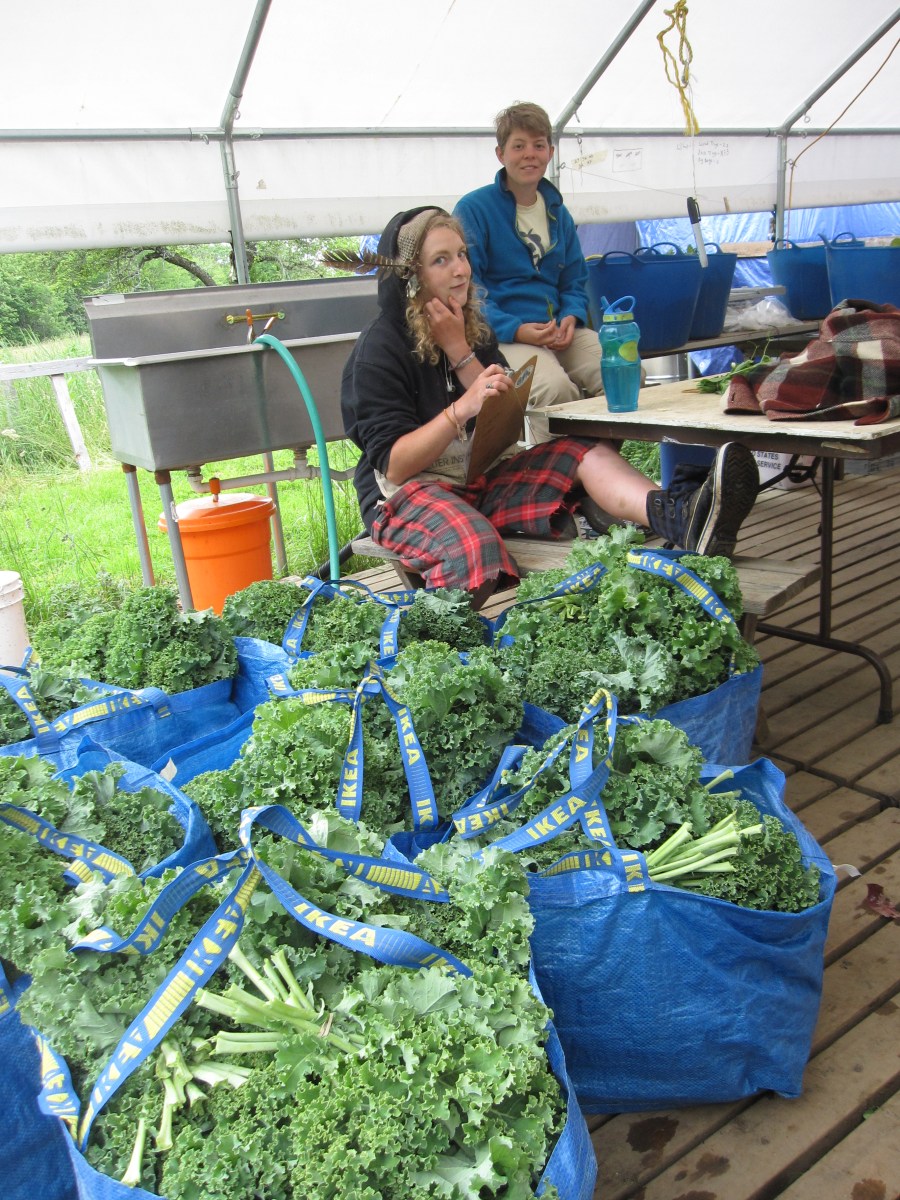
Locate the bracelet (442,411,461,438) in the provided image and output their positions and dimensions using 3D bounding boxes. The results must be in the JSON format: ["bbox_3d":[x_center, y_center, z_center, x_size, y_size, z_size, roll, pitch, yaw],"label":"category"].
[{"bbox_3d":[0.004,-0.481,2.508,0.029,0.068,0.051,5,32,-8],"label":"bracelet"}]
